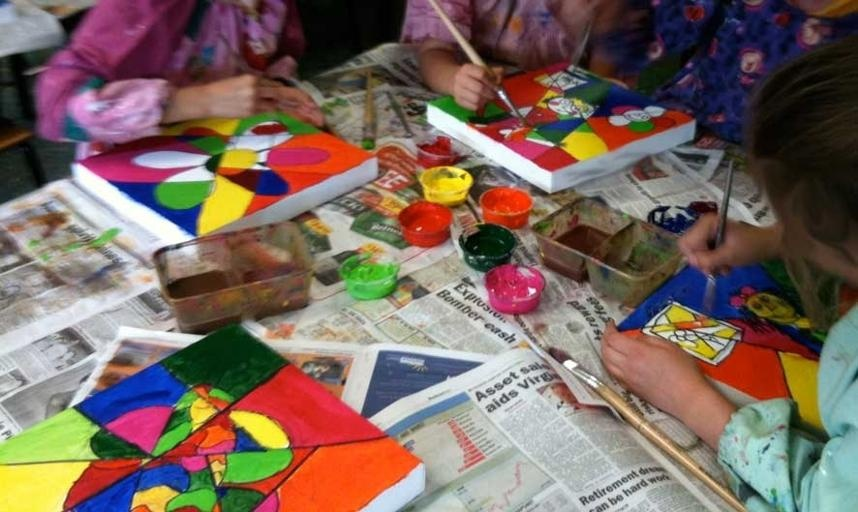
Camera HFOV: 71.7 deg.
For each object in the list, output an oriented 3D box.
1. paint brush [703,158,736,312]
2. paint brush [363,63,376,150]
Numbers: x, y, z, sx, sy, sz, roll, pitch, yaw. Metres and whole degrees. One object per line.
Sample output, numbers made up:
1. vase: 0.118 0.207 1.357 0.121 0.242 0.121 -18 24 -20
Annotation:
1. paint brush: 0.559 -0.031 1.146 0.047 0.328 0.019 8 8 0
2. paint brush: -0.162 -0.391 1.529 0.050 0.029 0.242 4 77 -24
